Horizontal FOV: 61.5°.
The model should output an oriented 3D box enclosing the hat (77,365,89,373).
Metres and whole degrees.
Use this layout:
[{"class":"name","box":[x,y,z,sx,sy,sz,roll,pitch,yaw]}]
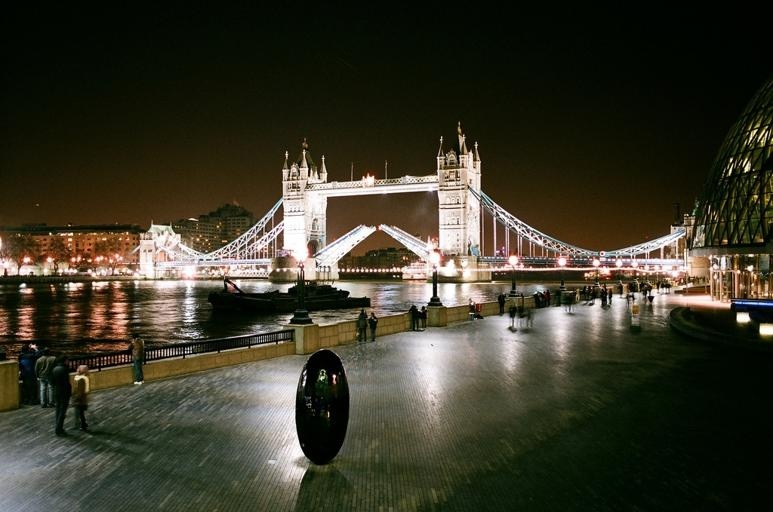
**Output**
[{"class":"hat","box":[-7.561,2.804,16.162,0.211,0.185,0.211,-2,-3,12]}]
